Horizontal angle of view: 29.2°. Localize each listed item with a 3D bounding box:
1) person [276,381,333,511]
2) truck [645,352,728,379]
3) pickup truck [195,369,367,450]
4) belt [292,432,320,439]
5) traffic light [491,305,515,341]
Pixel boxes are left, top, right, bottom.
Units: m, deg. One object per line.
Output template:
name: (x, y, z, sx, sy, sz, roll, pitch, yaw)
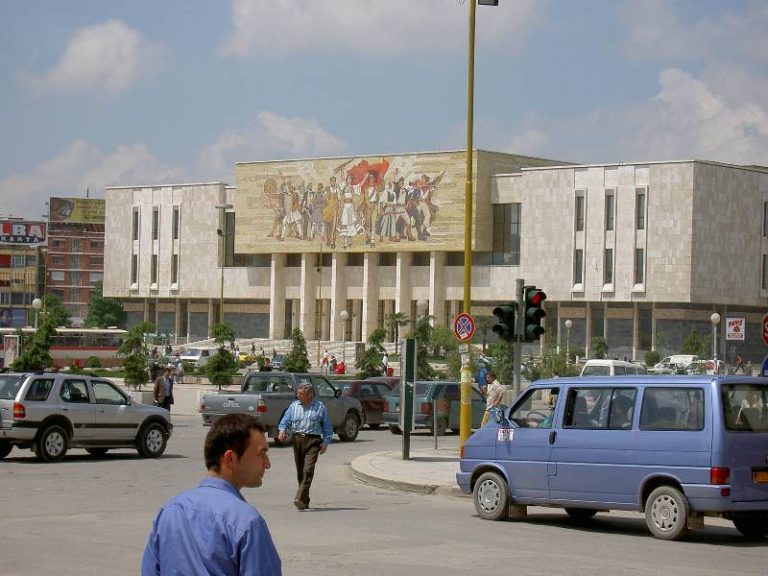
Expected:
person: (-1.606, 3.165, 29.574, 0.971, 2.514, 1.062, 1, 4, 2)
truck: (14.574, 3.729, 72.069, 3.909, 1.638, 2.299, 1, -1, 5)
pickup truck: (-2.790, 3.513, 43.234, 2.478, 2.105, 5.156, -4, -6, 32)
belt: (-1.546, 2.953, 29.624, 0.568, 0.133, 0.152, 0, -6, 10)
traffic light: (2.775, 0.817, 34.760, 0.523, 0.910, 0.989, 0, -6, 2)
